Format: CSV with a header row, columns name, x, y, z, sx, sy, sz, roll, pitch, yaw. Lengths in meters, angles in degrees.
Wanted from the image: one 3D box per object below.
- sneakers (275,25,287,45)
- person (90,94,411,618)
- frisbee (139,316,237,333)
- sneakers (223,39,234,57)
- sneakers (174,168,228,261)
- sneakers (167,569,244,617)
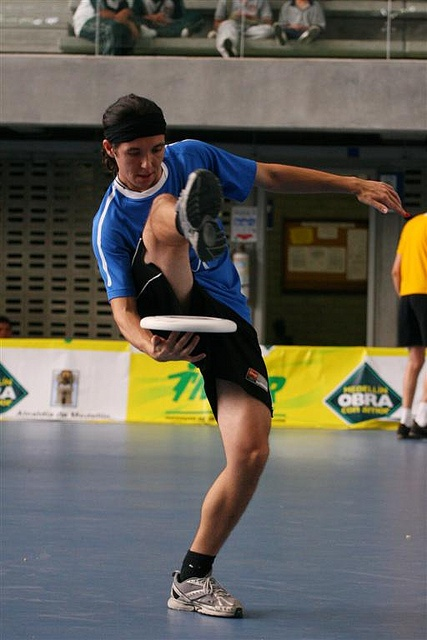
name,x,y,z,sx,sy,sz,roll,pitch,yaw
sneakers,0.605,-2.527,11.577,0.080,0.192,0.090,-10,-3,-14
person,0.059,0.149,5.726,1.033,2.257,0.859,-2,8,-20
frisbee,-0.110,0.033,5.539,0.407,0.099,0.313,0,7,-7
sneakers,0.135,-2.388,11.464,0.103,0.160,0.035,1,8,4
sneakers,-0.046,-0.415,5.267,0.178,0.375,0.201,-3,-2,-33
sneakers,-0.029,1.209,5.739,0.388,0.150,0.157,1,1,40
